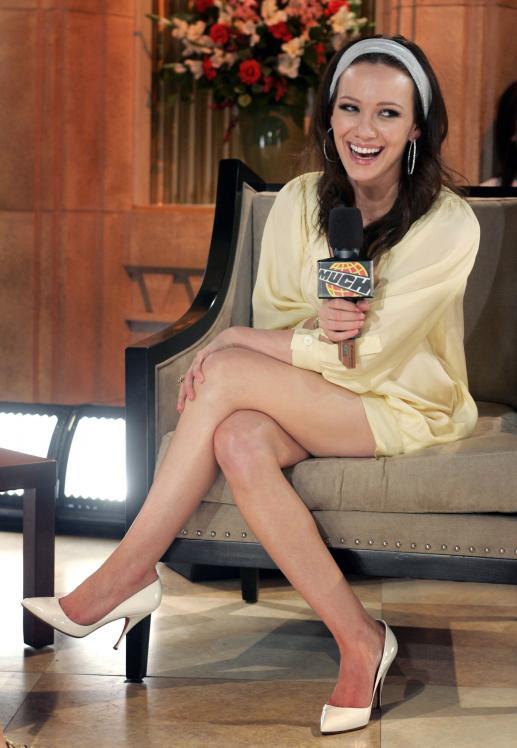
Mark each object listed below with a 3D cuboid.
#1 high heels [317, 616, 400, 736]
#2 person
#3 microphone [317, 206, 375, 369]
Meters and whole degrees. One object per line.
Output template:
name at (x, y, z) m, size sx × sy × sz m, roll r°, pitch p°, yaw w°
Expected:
high heels at (0.187, 0.509, 1.357) m, size 0.095 × 0.164 × 0.245 m, roll 2°, pitch 3°, yaw 25°
person at (-0.093, -0.109, 2.148) m, size 1.357 × 1.681 × 0.868 m, roll 0°, pitch 6°, yaw -41°
microphone at (0.149, -0.149, 1.388) m, size 0.089 × 0.283 × 0.145 m, roll 1°, pitch 3°, yaw 4°
